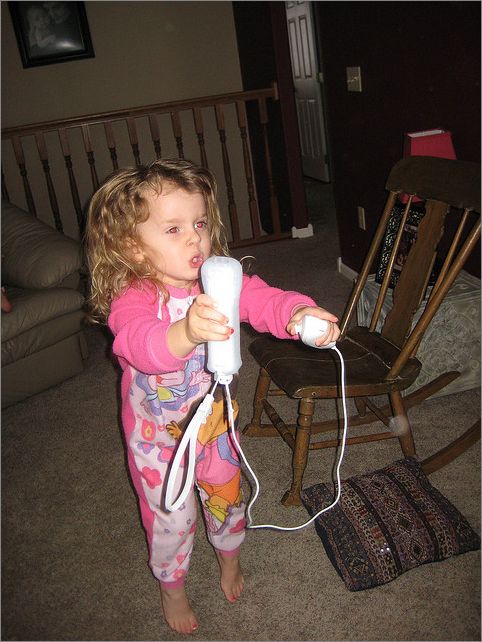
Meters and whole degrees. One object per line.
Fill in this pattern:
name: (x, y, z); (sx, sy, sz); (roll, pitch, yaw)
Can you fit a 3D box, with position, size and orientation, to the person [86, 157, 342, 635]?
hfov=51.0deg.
person: (-0.076, 0.171, 1.070); (0.425, 0.941, 0.547); (-17, 36, -15)
